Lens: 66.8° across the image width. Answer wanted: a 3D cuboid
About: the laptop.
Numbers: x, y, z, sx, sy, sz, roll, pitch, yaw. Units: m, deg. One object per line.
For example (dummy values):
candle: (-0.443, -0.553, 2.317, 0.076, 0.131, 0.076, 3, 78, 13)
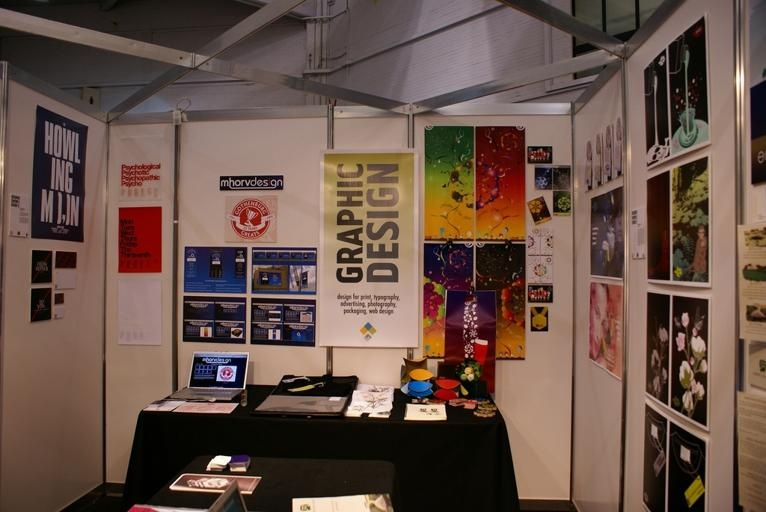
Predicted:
laptop: (-1.346, 0.970, 4.725, 0.490, 0.295, 0.371, 0, -3, 4)
